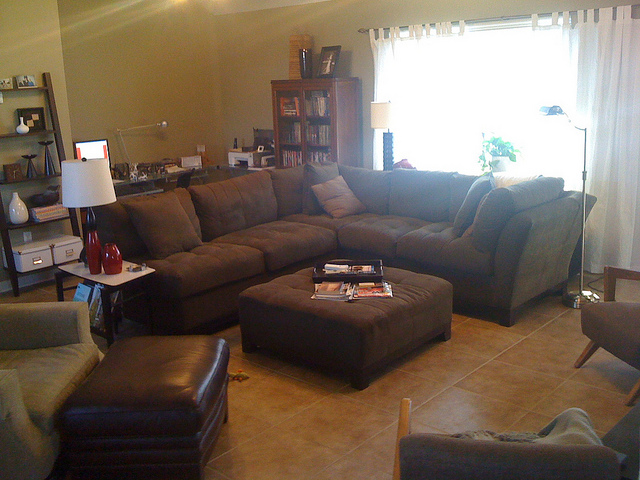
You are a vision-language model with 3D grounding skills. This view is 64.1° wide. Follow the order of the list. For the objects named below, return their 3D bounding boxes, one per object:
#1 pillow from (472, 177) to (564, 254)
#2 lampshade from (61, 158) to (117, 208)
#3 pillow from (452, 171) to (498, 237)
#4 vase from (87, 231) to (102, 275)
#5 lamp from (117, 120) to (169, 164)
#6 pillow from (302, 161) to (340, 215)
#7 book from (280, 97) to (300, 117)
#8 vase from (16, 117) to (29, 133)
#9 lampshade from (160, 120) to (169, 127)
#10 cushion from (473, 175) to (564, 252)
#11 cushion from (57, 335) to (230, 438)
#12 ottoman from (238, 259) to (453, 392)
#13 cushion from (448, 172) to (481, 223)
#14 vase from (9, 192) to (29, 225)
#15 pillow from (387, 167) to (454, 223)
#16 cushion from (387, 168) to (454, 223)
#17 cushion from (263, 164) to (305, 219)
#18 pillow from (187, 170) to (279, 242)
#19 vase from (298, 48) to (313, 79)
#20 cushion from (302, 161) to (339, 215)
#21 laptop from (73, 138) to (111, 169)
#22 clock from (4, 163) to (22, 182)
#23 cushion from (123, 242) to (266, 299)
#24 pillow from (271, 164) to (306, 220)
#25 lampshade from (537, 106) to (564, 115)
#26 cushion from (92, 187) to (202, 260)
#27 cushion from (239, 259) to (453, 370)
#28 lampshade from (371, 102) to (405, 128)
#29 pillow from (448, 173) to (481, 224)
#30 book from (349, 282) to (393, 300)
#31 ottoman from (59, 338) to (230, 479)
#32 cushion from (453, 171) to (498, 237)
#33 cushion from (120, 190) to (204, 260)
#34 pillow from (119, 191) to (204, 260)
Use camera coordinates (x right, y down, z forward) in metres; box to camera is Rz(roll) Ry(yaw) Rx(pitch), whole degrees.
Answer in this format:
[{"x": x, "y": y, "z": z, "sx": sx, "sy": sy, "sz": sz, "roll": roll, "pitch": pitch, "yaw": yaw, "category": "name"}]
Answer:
[{"x": 1.592, "y": -0.250, "z": 4.529, "sx": 1.098, "sy": 0.672, "sz": 0.366, "roll": -2, "pitch": 10, "yaw": -21, "category": "pillow"}, {"x": -1.847, "y": -0.473, "z": 4.211, "sx": 0.423, "sy": 0.335, "sz": 0.393, "roll": -9, "pitch": 17, "yaw": -6, "category": "lampshade"}, {"x": 1.434, "y": -0.338, "z": 4.840, "sx": 0.232, "sy": 0.520, "sz": 0.517, "roll": 28, "pitch": 30, "yaw": 16, "category": "pillow"}, {"x": -1.837, "y": 0.105, "z": 4.119, "sx": 0.117, "sy": 0.335, "sz": 0.133, "roll": -13, "pitch": 17, "yaw": -25, "category": "vase"}, {"x": -2.481, "y": -1.438, "z": 7.433, "sx": 0.266, "sy": 0.540, "sz": 0.831, "roll": 4, "pitch": 18, "yaw": 31, "category": "lamp"}, {"x": -0.007, "y": -0.572, "z": 5.907, "sx": 0.540, "sy": 0.465, "sz": 0.194, "roll": -21, "pitch": 7, "yaw": -36, "category": "pillow"}, {"x": -0.426, "y": -1.885, "z": 7.323, "sx": 0.296, "sy": 0.294, "sz": 0.110, "roll": 0, "pitch": 8, "yaw": 31, "category": "book"}, {"x": -3.164, "y": -1.220, "z": 5.471, "sx": 0.120, "sy": 0.152, "sz": 0.116, "roll": -4, "pitch": 9, "yaw": -17, "category": "vase"}, {"x": -2.304, "y": -1.723, "z": 7.557, "sx": 0.146, "sy": 0.114, "sz": 0.116, "roll": -4, "pitch": 2, "yaw": -17, "category": "lampshade"}, {"x": 1.754, "y": -0.232, "z": 4.539, "sx": 0.848, "sy": 0.550, "sz": 0.358, "roll": -16, "pitch": 18, "yaw": -34, "category": "cushion"}, {"x": -0.984, "y": 0.868, "z": 3.037, "sx": 0.904, "sy": 0.347, "sz": 0.895, "roll": -5, "pitch": 17, "yaw": -7, "category": "cushion"}, {"x": 0.059, "y": 0.590, "z": 3.851, "sx": 1.001, "sy": 0.394, "sz": 1.053, "roll": 6, "pitch": 14, "yaw": 37, "category": "ottoman"}, {"x": 1.408, "y": -0.443, "z": 5.349, "sx": 0.192, "sy": 0.424, "sz": 0.417, "roll": 10, "pitch": 21, "yaw": 5, "category": "cushion"}, {"x": -3.241, "y": -0.336, "z": 5.479, "sx": 0.196, "sy": 0.333, "sz": 0.148, "roll": -19, "pitch": 20, "yaw": -40, "category": "vase"}, {"x": 1.098, "y": -0.488, "z": 5.711, "sx": 0.778, "sy": 0.656, "sz": 0.267, "roll": 3, "pitch": 17, "yaw": 15, "category": "pillow"}, {"x": 1.102, "y": -0.462, "z": 5.559, "sx": 0.610, "sy": 0.497, "sz": 0.213, "roll": 7, "pitch": 4, "yaw": 36, "category": "cushion"}, {"x": -0.417, "y": -0.522, "z": 5.840, "sx": 0.199, "sy": 0.408, "sz": 0.584, "roll": 14, "pitch": 21, "yaw": 43, "category": "cushion"}, {"x": -0.882, "y": -0.319, "z": 5.318, "sx": 0.878, "sy": 0.467, "sz": 0.215, "roll": -17, "pitch": 7, "yaw": -42, "category": "pillow"}, {"x": -0.201, "y": -2.474, "z": 7.196, "sx": 0.189, "sy": 0.411, "sz": 0.252, "roll": -6, "pitch": 15, "yaw": -1, "category": "vase"}, {"x": -0.009, "y": -0.574, "z": 5.908, "sx": 0.554, "sy": 0.474, "sz": 0.203, "roll": -21, "pitch": 13, "yaw": -41, "category": "cushion"}, {"x": -2.975, "y": -1.139, "z": 6.680, "sx": 0.472, "sy": 0.283, "sz": 0.035, "roll": -1, "pitch": 13, "yaw": 10, "category": "laptop"}, {"x": -3.263, "y": -0.718, "z": 5.421, "sx": 0.153, "sy": 0.154, "sz": 0.069, "roll": -16, "pitch": 18, "yaw": -34, "category": "clock"}, {"x": -1.108, "y": 0.244, "z": 4.618, "sx": 1.034, "sy": 0.277, "sz": 0.678, "roll": -18, "pitch": 20, "yaw": -41, "category": "cushion"}, {"x": -0.369, "y": -0.523, "z": 5.881, "sx": 0.548, "sy": 0.503, "sz": 0.182, "roll": -23, "pitch": 10, "yaw": -33, "category": "pillow"}, {"x": 2.091, "y": -1.170, "z": 4.648, "sx": 0.108, "sy": 0.076, "sz": 0.212, "roll": -13, "pitch": 17, "yaw": -27, "category": "lampshade"}, {"x": -1.644, "y": -0.069, "z": 5.102, "sx": 0.412, "sy": 0.737, "sz": 1.240, "roll": -3, "pitch": 12, "yaw": 24, "category": "cushion"}, {"x": 0.381, "y": 0.533, "z": 3.841, "sx": 0.929, "sy": 0.300, "sz": 0.866, "roll": 8, "pitch": 17, "yaw": 41, "category": "cushion"}, {"x": 0.830, "y": -1.516, "z": 6.362, "sx": 0.424, "sy": 0.314, "sz": 0.436, "roll": 1, "pitch": 15, "yaw": 13, "category": "lampshade"}, {"x": 1.415, "y": -0.435, "z": 5.389, "sx": 0.214, "sy": 0.442, "sz": 0.436, "roll": 10, "pitch": 16, "yaw": 2, "category": "pillow"}, {"x": 0.377, "y": 0.391, "z": 3.925, "sx": 0.327, "sy": 0.055, "sz": 0.254, "roll": -5, "pitch": 15, "yaw": -1, "category": "book"}, {"x": -0.920, "y": 0.874, "z": 2.891, "sx": 0.775, "sy": 0.507, "sz": 0.774, "roll": 0, "pitch": 16, "yaw": 2, "category": "ottoman"}, {"x": 1.435, "y": -0.325, "z": 4.854, "sx": 0.236, "sy": 0.529, "sz": 0.524, "roll": 27, "pitch": 27, "yaw": 15, "category": "cushion"}, {"x": -1.451, "y": -0.127, "z": 4.620, "sx": 0.190, "sy": 0.576, "sz": 0.637, "roll": -33, "pitch": -4, "yaw": 37, "category": "cushion"}, {"x": -1.455, "y": -0.150, "z": 4.639, "sx": 0.192, "sy": 0.574, "sz": 0.638, "roll": -31, "pitch": -1, "yaw": 38, "category": "pillow"}]
